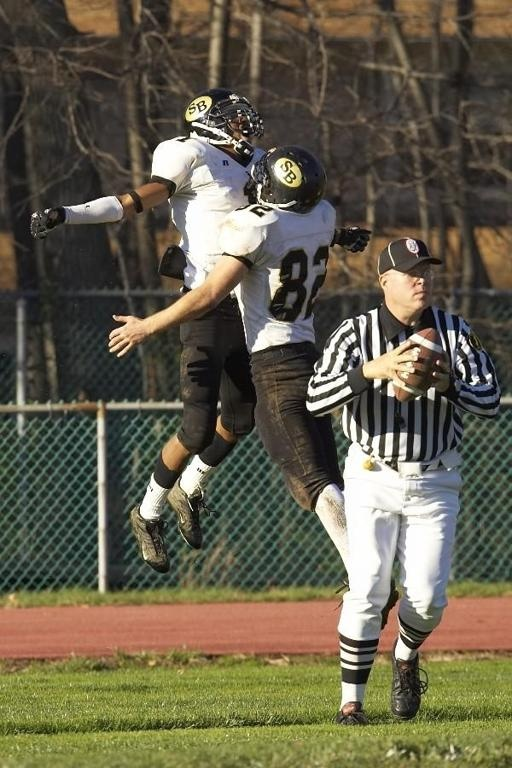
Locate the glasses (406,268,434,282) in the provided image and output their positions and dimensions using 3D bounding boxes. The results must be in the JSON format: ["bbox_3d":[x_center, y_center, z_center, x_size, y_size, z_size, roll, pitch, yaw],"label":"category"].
[{"bbox_3d":[0.658,-0.440,5.109,0.084,0.038,0.063,-4,-5,43],"label":"glasses"}]

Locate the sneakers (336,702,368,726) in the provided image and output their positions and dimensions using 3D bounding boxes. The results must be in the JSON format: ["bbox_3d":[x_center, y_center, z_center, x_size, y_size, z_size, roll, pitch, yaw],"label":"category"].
[{"bbox_3d":[0.396,1.345,5.166,0.077,0.046,0.126,1,0,7],"label":"sneakers"}]

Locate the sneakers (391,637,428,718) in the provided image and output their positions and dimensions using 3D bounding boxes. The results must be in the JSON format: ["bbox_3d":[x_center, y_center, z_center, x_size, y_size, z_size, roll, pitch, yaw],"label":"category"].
[{"bbox_3d":[0.668,1.270,5.491,0.149,0.330,0.139,2,-29,2],"label":"sneakers"}]

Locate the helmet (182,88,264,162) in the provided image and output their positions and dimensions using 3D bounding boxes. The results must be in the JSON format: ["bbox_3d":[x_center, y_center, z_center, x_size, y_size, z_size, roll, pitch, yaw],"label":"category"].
[{"bbox_3d":[-0.154,-1.272,6.220,0.384,0.313,0.275,4,9,37],"label":"helmet"}]

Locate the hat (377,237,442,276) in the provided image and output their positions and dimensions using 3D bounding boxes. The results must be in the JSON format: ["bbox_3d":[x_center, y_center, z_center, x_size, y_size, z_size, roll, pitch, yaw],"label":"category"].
[{"bbox_3d":[0.614,-0.512,5.152,0.161,0.106,0.221,-8,-3,-45],"label":"hat"}]

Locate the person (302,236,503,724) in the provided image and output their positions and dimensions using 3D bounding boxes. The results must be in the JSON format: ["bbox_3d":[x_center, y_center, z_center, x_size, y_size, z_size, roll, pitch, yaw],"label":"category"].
[{"bbox_3d":[0.595,0.401,5.138,0.939,1.961,0.949,0,-9,3],"label":"person"}]

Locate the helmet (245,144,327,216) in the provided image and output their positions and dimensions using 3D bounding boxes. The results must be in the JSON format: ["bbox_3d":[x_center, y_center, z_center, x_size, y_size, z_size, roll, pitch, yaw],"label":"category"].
[{"bbox_3d":[0.170,-0.944,5.816,0.396,0.289,0.304,25,33,35],"label":"helmet"}]

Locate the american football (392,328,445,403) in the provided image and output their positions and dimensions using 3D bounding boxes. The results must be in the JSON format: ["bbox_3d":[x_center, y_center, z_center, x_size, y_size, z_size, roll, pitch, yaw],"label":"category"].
[{"bbox_3d":[0.657,-0.059,4.956,0.178,0.279,0.192,40,6,18],"label":"american football"}]
